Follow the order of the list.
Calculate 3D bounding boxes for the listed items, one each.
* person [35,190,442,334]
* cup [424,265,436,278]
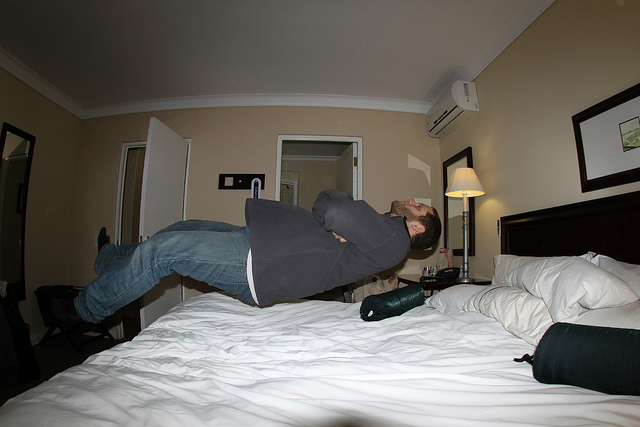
[{"bbox_3d":[-0.546,0.306,3.233,3.032,1.306,0.906,8,-6,5],"label":"person"},{"bbox_3d":[1.249,0.647,4.338,0.113,0.114,0.199,1,-10,21],"label":"cup"}]
